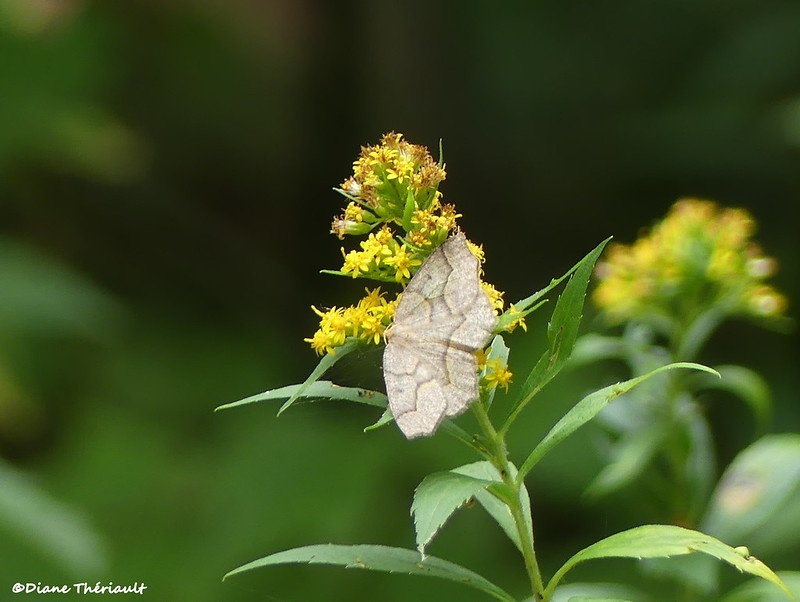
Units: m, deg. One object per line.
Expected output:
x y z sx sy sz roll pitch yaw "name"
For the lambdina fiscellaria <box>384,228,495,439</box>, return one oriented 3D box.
0.200 0.169 4.167 0.572 0.845 0.853 -11 -79 27 "lambdina fiscellaria"
